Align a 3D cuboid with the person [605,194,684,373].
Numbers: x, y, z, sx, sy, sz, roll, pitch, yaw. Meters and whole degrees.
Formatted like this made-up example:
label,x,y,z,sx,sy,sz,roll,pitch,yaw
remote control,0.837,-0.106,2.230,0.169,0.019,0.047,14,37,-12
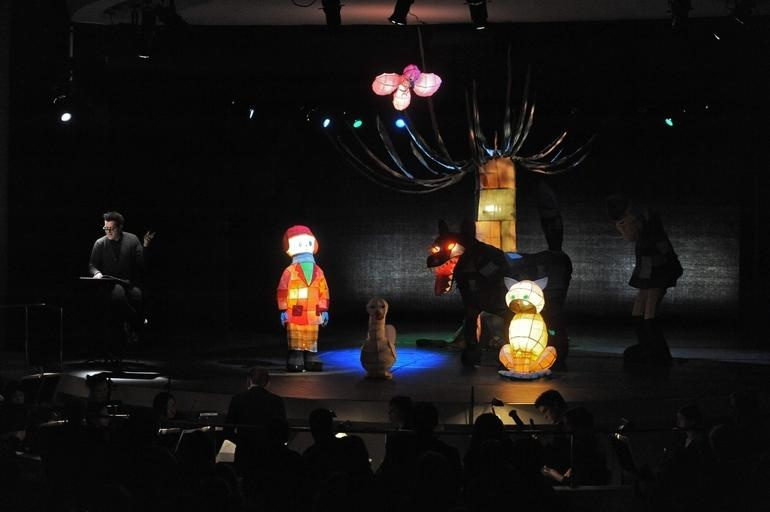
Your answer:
label,x,y,z,sx,sy,sz,roll,pitch,yaw
person,3.008,0.325,8.507,0.798,1.905,0.877,1,-12,21
